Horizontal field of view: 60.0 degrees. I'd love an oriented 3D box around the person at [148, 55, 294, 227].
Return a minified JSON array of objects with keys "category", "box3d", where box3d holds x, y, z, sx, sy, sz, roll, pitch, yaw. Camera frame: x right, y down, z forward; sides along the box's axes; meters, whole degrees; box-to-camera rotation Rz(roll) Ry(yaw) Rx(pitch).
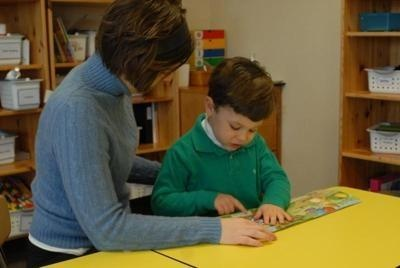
[{"category":"person","box3d":[0.112,0.155,1.704,0.696,1.013,0.676,-3,19,-7]}]
